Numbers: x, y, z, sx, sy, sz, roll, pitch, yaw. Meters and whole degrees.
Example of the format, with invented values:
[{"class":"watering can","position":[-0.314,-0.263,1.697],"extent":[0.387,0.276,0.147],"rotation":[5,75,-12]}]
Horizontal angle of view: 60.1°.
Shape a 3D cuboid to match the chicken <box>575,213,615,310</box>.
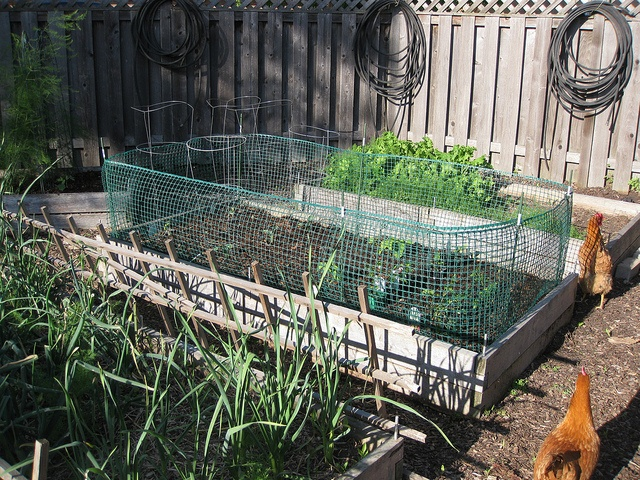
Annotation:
[{"class":"chicken","position":[2.419,0.128,4.835],"extent":[0.286,0.691,0.149],"rotation":[14,19,36]}]
